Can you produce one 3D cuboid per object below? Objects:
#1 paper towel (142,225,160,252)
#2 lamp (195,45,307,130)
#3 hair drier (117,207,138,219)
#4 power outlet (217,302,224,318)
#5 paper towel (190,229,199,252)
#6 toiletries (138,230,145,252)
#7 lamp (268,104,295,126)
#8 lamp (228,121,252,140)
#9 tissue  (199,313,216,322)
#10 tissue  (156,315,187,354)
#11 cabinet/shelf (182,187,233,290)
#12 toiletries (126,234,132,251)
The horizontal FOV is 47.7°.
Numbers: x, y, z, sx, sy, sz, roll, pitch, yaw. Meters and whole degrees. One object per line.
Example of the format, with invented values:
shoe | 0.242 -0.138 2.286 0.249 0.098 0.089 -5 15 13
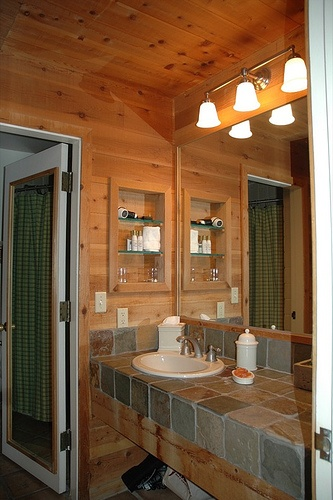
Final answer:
paper towel | -0.077 -0.069 2.216 0.105 0.139 0.041 2 -5 -29
lamp | 0.380 -0.744 1.722 0.508 0.180 0.121 -13 -6 38
hair drier | -0.217 -0.207 2.138 0.067 0.066 0.128 -1 -4 22
power outlet | 0.290 0.321 2.012 0.007 0.087 0.063 3 -5 -34
paper towel | 0.174 -0.049 2.240 0.081 0.113 0.033 1 0 -3
toiletries | -0.148 -0.050 2.195 0.023 0.123 0.049 -1 -5 24
lamp | 0.510 -0.593 1.671 0.082 0.081 0.077 -2 2 -38
lamp | 0.371 -0.595 1.888 0.080 0.085 0.086 6 0 18
tissue  | 0.233 0.374 2.090 0.060 0.033 0.120 2 0 -7
tissue  | 0.033 0.483 2.156 0.164 0.176 0.171 1 -5 -16
cabinet/shelf | 0.213 -0.039 2.129 0.267 0.543 0.144 4 -9 -10
toiletries | -0.211 -0.032 2.148 0.040 0.059 0.013 0 -3 -25
